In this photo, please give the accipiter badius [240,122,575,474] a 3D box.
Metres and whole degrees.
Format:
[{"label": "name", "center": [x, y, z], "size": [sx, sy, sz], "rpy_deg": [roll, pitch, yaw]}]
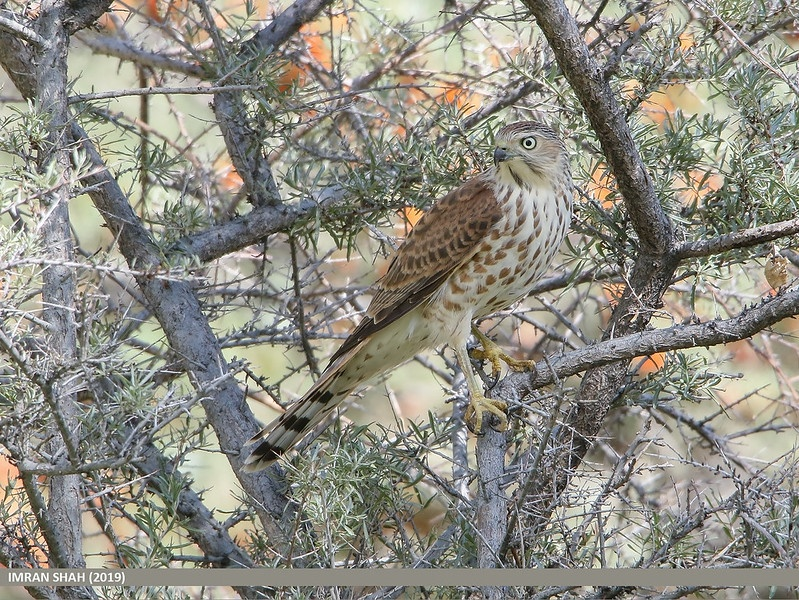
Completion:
[{"label": "accipiter badius", "center": [0.052, -0.073, 5.168], "size": [1.596, 1.118, 0.568], "rpy_deg": [-14, -7, 23]}]
